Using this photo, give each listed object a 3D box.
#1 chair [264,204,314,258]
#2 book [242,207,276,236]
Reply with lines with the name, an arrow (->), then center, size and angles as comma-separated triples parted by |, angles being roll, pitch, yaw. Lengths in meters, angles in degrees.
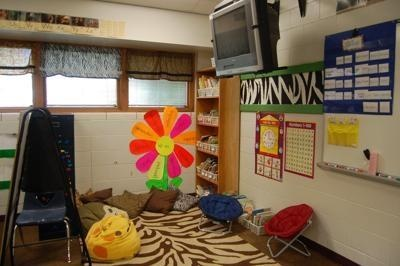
chair -> 1.161, 1.239, 3.639 | 0.629, 0.629, 0.655 | -3, 6, 0
book -> 0.858, 1.297, 4.083 | 0.363, 0.241, 0.358 | -15, 10, -27
